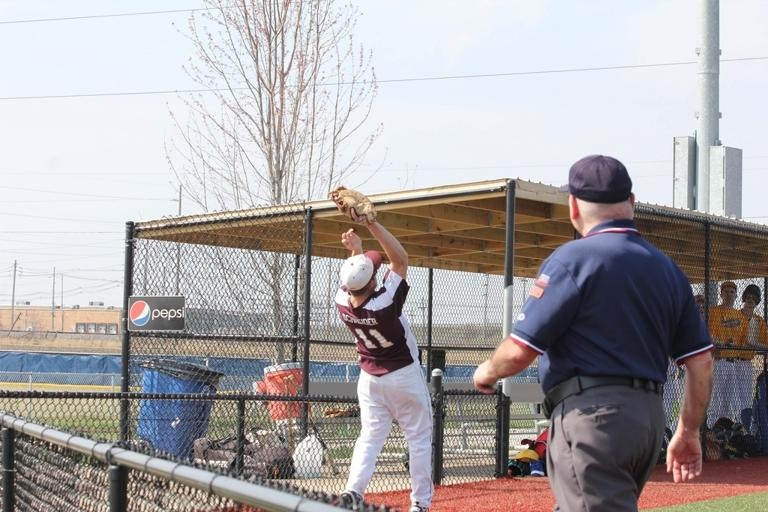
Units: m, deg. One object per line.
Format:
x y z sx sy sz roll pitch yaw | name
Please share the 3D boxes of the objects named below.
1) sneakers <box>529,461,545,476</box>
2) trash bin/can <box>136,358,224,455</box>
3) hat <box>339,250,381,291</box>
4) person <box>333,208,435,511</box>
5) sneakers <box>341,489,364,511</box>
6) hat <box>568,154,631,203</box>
2.004 2.784 16.020 0.163 0.178 0.179 0 -22 1 | sneakers
-2.739 2.080 16.484 0.830 1.208 0.896 7 -6 4 | trash bin/can
-0.227 0.135 13.362 0.321 0.473 0.212 16 -20 32 | hat
0.015 1.127 13.381 1.002 3.254 0.546 0 -7 -1 | person
-0.251 1.990 9.930 0.185 0.114 0.207 0 -9 -5 | sneakers
1.950 -0.747 11.268 0.542 0.381 0.724 0 12 -11 | hat
